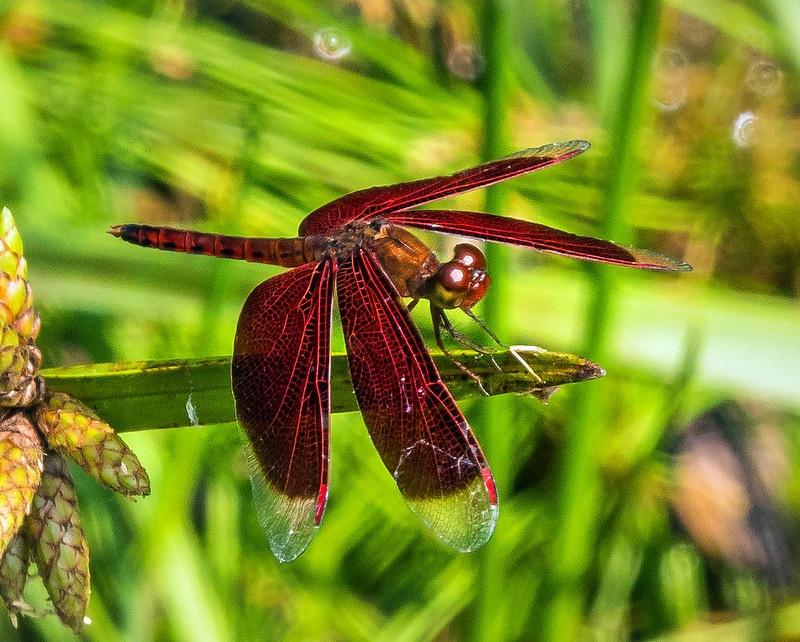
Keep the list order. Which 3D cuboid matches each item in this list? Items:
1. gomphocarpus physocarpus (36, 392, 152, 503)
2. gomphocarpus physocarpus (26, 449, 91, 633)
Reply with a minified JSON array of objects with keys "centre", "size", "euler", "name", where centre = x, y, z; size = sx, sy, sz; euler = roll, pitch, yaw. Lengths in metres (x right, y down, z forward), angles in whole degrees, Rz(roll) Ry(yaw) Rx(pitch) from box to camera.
[{"centre":[-0.588,0.240,1.720],"size":[0.248,0.154,0.100],"euler":[19,-69,-14],"name":"gomphocarpus physocarpus"},{"centre":[-0.648,0.424,1.776],"size":[0.105,0.116,0.377],"euler":[-9,-96,-31],"name":"gomphocarpus physocarpus"}]
